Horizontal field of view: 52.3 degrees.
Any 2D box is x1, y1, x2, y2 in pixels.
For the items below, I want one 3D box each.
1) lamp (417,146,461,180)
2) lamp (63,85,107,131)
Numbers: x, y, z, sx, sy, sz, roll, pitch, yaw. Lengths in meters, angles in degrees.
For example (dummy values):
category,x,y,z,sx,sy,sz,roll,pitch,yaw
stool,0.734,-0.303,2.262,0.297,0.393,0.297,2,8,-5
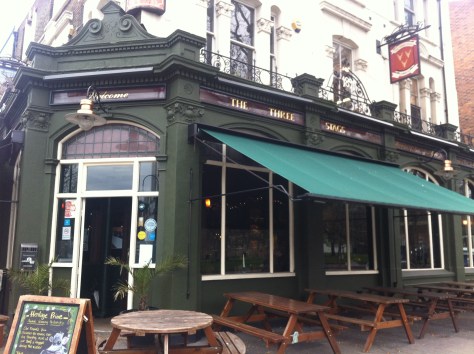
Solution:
category,x,y,z,sx,sy,sz,roll,pitch,yaw
lamp,7.618,-0.607,17.384,1.410,1.435,1.329,-1,-6,10
lamp,-3.960,-1.820,12.570,1.049,1.283,1.180,-1,-14,5
